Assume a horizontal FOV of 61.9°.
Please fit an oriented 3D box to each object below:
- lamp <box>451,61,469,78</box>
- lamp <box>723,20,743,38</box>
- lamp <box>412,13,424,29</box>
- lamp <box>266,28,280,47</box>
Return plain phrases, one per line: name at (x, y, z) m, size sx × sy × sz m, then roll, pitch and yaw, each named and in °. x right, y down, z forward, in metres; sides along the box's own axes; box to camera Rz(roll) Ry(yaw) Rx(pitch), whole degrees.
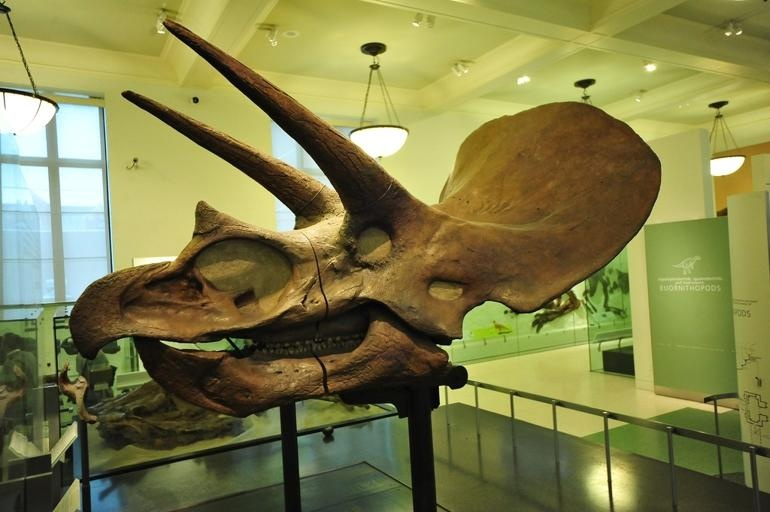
lamp at (1.227, -2.995, 10.258) m, size 0.256 × 0.157 × 0.216 m, roll -7°, pitch -16°, yaw -11°
lamp at (5.016, -3.299, 9.321) m, size 0.288 × 0.232 × 0.175 m, roll -8°, pitch 17°, yaw 7°
lamp at (0.449, -3.189, 8.655) m, size 0.147 × 0.106 × 0.217 m, roll 22°, pitch 2°, yaw -23°
lamp at (-1.500, -3.059, 8.972) m, size 0.207 × 0.222 × 0.218 m, roll 1°, pitch 27°, yaw 2°
